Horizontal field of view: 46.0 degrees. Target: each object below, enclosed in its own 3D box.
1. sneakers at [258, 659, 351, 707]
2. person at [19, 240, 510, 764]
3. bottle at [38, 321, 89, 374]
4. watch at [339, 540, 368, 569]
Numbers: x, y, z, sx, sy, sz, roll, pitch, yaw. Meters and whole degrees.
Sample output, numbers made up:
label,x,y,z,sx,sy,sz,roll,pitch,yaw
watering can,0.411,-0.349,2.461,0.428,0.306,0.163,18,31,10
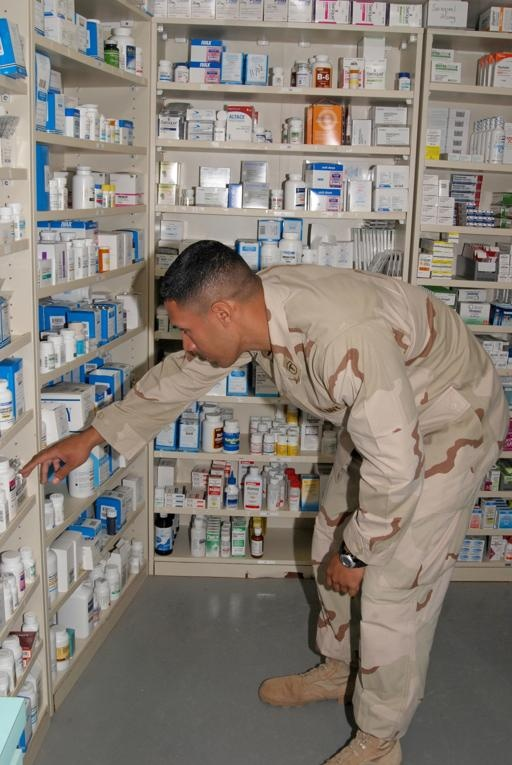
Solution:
label,x,y,z,sx,sy,sz,roll,pitch,yaw
sneakers,0.123,1.074,2.235,0.398,0.182,0.137,2,34,-12
person,0.134,0.430,1.767,0.988,1.565,0.958,-3,9,-41
bottle,-0.641,-0.120,2.048,0.071,0.095,0.241,1,9,6
watch,0.239,0.446,1.553,0.073,0.043,0.056,44,1,-32
